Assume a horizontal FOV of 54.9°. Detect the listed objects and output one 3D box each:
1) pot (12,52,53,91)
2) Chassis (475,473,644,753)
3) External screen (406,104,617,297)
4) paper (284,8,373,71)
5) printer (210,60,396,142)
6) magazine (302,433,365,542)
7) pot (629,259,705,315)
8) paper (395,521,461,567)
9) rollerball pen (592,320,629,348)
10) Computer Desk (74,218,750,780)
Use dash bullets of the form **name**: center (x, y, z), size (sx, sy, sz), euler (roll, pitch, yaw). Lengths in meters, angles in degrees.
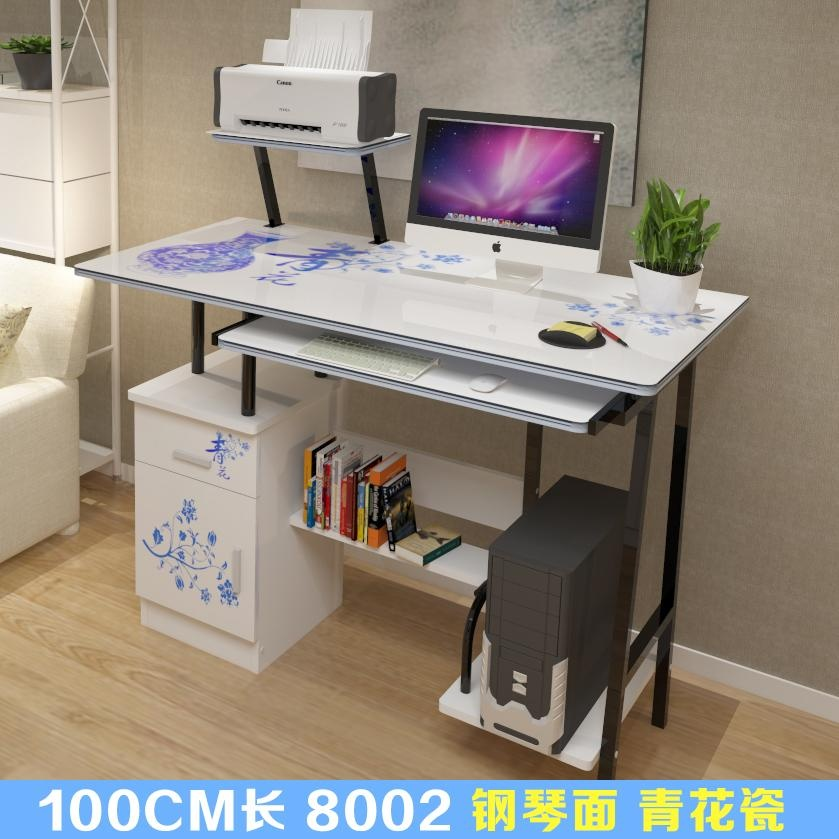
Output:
- **pot**: center (-1.207, -1.089, 2.530), size (0.121, 0.112, 0.064), euler (0, 22, -5)
- **Chassis**: center (0.286, 0.394, 1.731), size (0.288, 0.548, 0.395), euler (13, 25, 25)
- **External screen**: center (0.230, -0.518, 1.905), size (0.446, 0.303, 0.121), euler (16, 31, 22)
- **paper**: center (-0.242, -0.997, 2.123), size (0.266, 0.188, 0.087), euler (9, 5, 22)
- **printer**: center (-0.324, -0.812, 2.085), size (0.493, 0.174, 0.190), euler (10, 23, 18)
- **magazine**: center (-0.217, 0.174, 2.014), size (0.141, 0.260, 0.198), euler (15, 22, 29)
- **pot**: center (0.516, -0.267, 1.688), size (0.147, 0.095, 0.113), euler (15, 23, 36)
- **paper**: center (0.014, 0.311, 1.996), size (0.092, 0.026, 0.130), euler (19, 29, 37)
- **rollerball pen**: center (0.370, -0.163, 1.565), size (0.020, 0.017, 0.152), euler (-25, 32, -9)
- **Computer Desk**: center (-0.063, 0.146, 2.068), size (1.443, 0.993, 0.738), euler (15, 24, 29)
